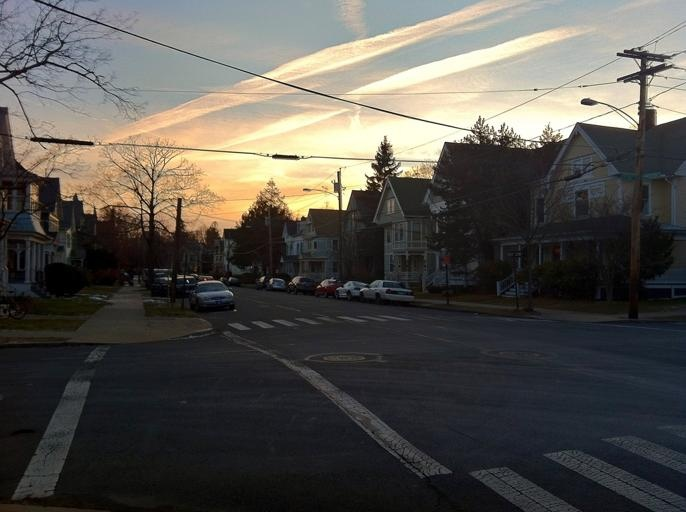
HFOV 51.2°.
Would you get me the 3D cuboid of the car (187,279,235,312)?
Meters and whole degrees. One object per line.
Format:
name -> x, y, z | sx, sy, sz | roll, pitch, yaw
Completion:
car -> -6.443, 1.981, 35.393 | 2.080, 1.407, 2.116 | -1, -2, -11
